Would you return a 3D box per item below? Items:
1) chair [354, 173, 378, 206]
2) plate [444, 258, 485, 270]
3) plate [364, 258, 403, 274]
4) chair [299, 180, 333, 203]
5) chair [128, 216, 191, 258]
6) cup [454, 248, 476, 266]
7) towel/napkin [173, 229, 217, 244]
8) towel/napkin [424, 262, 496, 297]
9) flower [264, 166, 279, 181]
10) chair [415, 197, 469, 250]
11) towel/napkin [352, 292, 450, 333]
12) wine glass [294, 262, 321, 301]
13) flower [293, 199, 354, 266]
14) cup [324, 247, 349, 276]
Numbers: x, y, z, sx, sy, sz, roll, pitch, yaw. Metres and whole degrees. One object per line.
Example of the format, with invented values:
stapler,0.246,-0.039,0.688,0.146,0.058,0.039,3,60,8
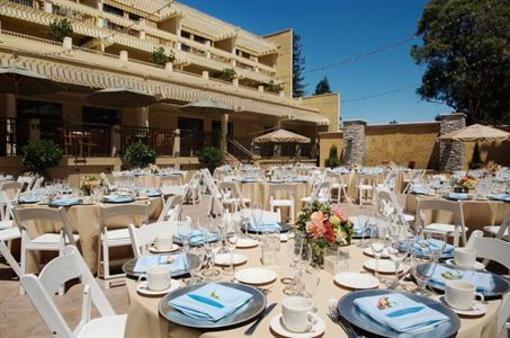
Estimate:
chair,3.571,0.698,11.711,0.653,1.296,0.954,1,17,8
plate,2.568,1.153,4.404,0.248,0.063,0.248,-5,2,-42
plate,1.517,1.143,4.288,0.222,0.027,0.226,-11,12,-32
chair,1.503,0.575,9.029,0.532,0.834,0.436,4,7,32
chair,-1.269,0.956,5.032,0.471,0.564,0.752,9,18,39
cup,2.411,1.003,4.199,0.169,0.188,0.237,-3,-4,12
towel/napkin,-0.757,0.879,4.623,0.314,0.050,0.324,9,10,41
towel/napkin,2.277,1.195,4.024,0.409,0.071,0.451,3,20,23
flower,0.477,0.159,9.589,0.399,0.467,0.428,-3,6,-9
chair,3.079,0.876,5.933,0.546,0.907,0.623,8,26,41
towel/napkin,1.451,1.440,3.656,0.442,0.111,0.487,0,12,-26
wine glass,0.540,1.146,3.860,0.316,0.409,0.326,-1,-1,-18
flower,0.772,0.651,4.494,0.679,0.734,0.696,-3,16,-29
cup,0.964,1.082,4.316,0.264,0.291,0.285,0,-2,0
